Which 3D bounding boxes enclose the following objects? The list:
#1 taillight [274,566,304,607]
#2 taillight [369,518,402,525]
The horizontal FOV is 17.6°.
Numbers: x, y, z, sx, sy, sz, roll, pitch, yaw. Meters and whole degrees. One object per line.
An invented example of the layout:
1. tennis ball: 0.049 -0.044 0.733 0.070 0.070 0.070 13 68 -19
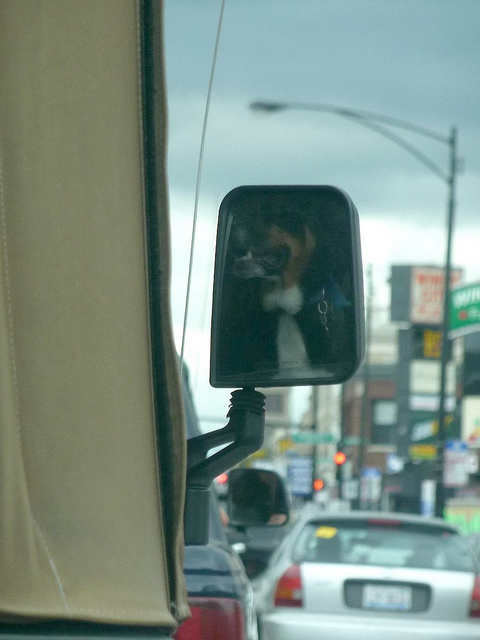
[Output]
1. taillight: 0.233 1.247 7.291 0.120 0.245 0.140 0 -16 6
2. taillight: 0.713 0.978 7.542 0.092 0.023 0.028 5 2 21
